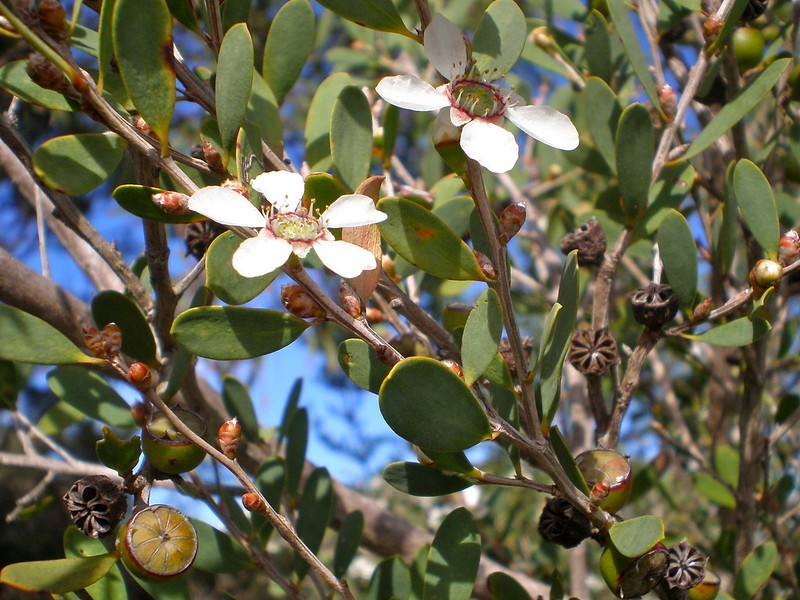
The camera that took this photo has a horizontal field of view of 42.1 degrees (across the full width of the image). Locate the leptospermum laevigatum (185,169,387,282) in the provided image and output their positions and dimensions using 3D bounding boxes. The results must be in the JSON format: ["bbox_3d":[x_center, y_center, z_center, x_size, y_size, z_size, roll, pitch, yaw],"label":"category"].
[{"bbox_3d":[-0.295,-0.190,2.703,0.315,0.101,0.353,21,41,-5],"label":"leptospermum laevigatum"}]

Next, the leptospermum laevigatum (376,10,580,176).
[{"bbox_3d":[0.184,-0.513,2.698,0.482,0.142,0.511,-10,42,-39],"label":"leptospermum laevigatum"}]
